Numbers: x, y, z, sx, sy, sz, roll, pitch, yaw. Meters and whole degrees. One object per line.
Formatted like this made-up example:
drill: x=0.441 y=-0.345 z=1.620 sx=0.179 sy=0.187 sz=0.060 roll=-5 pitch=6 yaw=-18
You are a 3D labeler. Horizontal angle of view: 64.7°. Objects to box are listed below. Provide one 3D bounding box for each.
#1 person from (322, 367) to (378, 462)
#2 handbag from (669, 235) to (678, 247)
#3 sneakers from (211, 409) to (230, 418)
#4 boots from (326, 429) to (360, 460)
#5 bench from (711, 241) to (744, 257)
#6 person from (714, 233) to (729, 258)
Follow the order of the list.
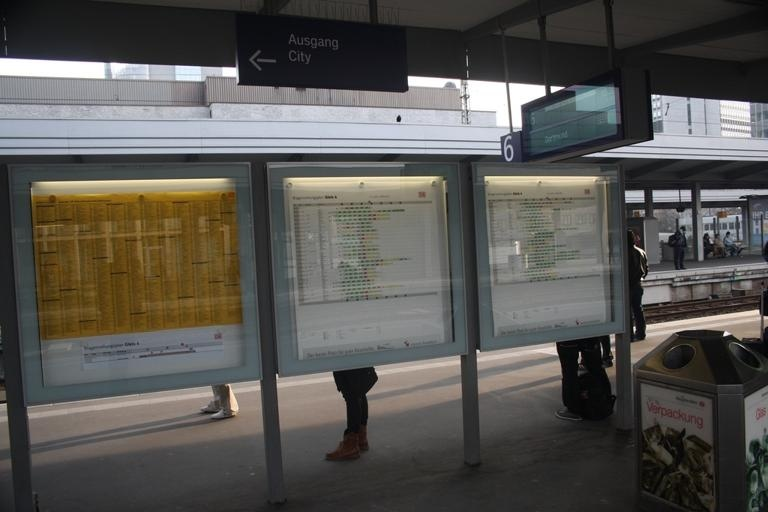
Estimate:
person: x=-0.389 y=1.742 z=6.941 sx=0.628 sy=1.087 sz=0.343 roll=-4 pitch=10 yaw=-6
handbag: x=12.524 y=-0.687 z=26.200 sx=0.162 sy=0.511 sz=0.416 roll=14 pitch=3 yaw=-23
sneakers: x=-2.205 y=2.119 z=8.169 sx=0.257 sy=0.099 sz=0.105 roll=3 pitch=-3 yaw=-15
boots: x=-0.425 y=2.189 z=7.038 sx=0.516 sy=0.316 sz=0.197 roll=2 pitch=-1 yaw=-1
bench: x=18.850 y=-0.398 z=33.054 sx=2.870 sy=0.753 sz=0.638 roll=0 pitch=-4 yaw=-34
person: x=18.606 y=-0.570 z=33.425 sx=0.809 sy=1.161 sz=1.276 roll=-2 pitch=6 yaw=4
